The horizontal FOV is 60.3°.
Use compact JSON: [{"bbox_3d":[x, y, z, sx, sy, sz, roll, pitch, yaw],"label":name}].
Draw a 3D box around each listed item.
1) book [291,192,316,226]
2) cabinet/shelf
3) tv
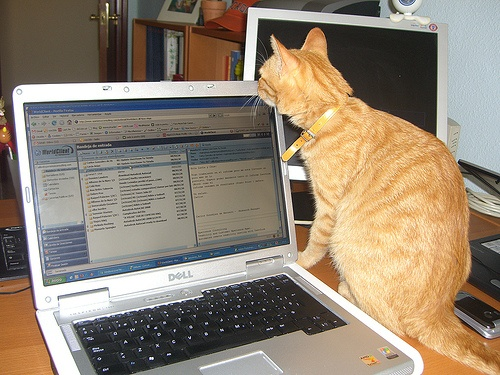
[{"bbox_3d":[0.168,0.070,1.425,0.088,0.025,0.118,3,59,-6],"label":"book"},{"bbox_3d":[-0.325,-0.714,2.282,0.586,0.279,0.144,-1,15,-14],"label":"cabinet/shelf"},{"bbox_3d":[0.346,-0.177,1.606,0.956,0.795,0.481,1,19,-3],"label":"tv"}]
